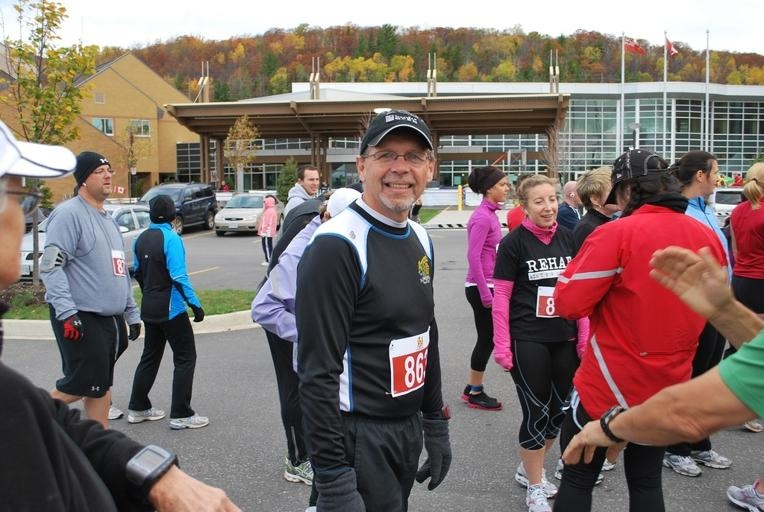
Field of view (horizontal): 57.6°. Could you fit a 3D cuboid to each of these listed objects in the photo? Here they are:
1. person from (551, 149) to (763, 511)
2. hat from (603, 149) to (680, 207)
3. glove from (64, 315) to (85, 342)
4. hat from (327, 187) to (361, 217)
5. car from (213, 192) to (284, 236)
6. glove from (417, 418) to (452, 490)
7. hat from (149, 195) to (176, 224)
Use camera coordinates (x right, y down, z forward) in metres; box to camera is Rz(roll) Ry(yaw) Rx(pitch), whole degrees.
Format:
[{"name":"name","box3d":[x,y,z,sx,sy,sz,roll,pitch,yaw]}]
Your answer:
[{"name":"person","box3d":[1.581,0.476,4.433,0.921,2.311,0.522,1,6,11]},{"name":"hat","box3d":[1.669,-0.572,4.678,0.345,0.268,0.489,-3,-13,-42]},{"name":"glove","box3d":[-2.590,0.604,5.840,0.070,0.198,0.141,0,-2,39]},{"name":"hat","box3d":[-0.310,-0.457,5.541,0.215,0.168,0.317,-7,22,26]},{"name":"car","box3d":[-4.881,-1.575,25.565,1.486,1.320,2.835,-2,4,12]},{"name":"glove","box3d":[0.334,1.219,4.294,0.134,0.395,0.377,2,-10,3]},{"name":"hat","box3d":[-2.195,-0.478,6.974,0.216,0.227,0.324,0,10,-11]}]
